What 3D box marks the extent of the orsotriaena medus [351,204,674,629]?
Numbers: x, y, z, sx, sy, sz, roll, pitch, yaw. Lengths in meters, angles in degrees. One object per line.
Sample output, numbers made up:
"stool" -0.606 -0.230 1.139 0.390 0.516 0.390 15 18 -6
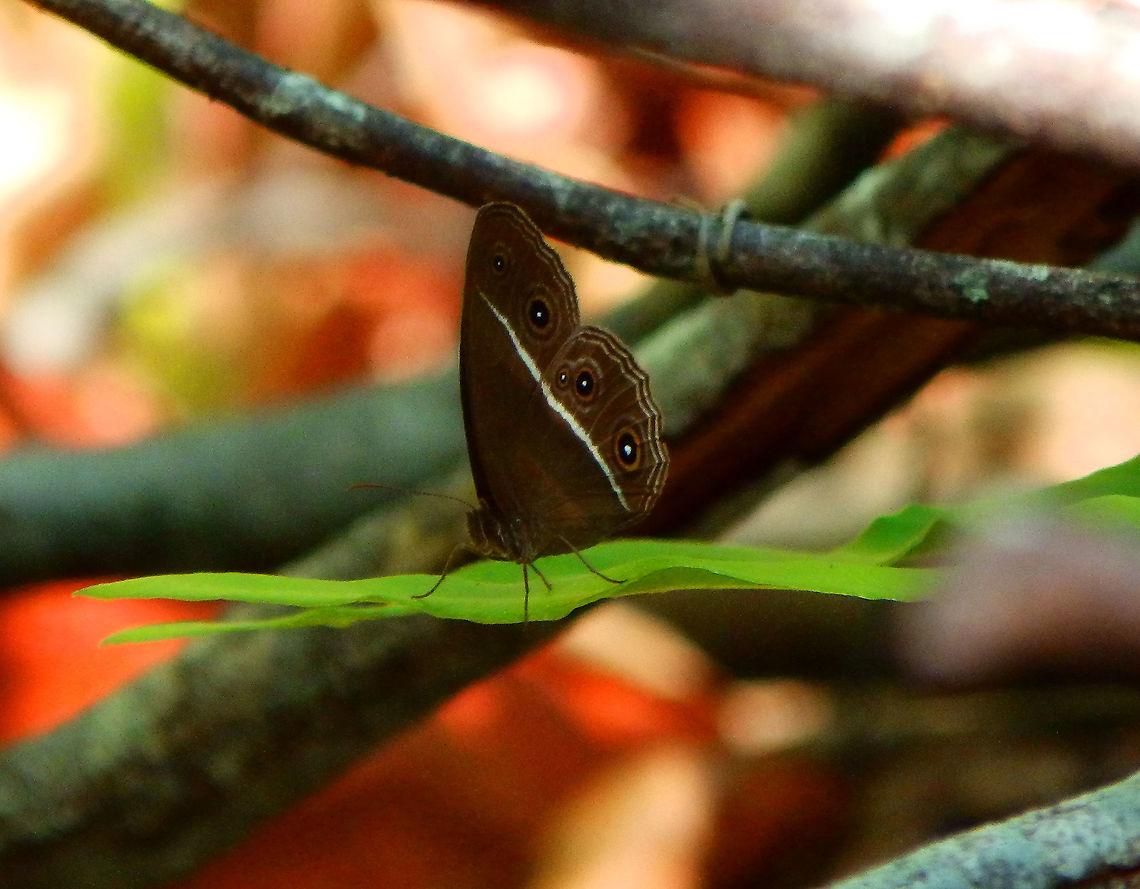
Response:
"orsotriaena medus" 0.000 -0.029 0.688 0.095 0.186 0.084 5 15 33
